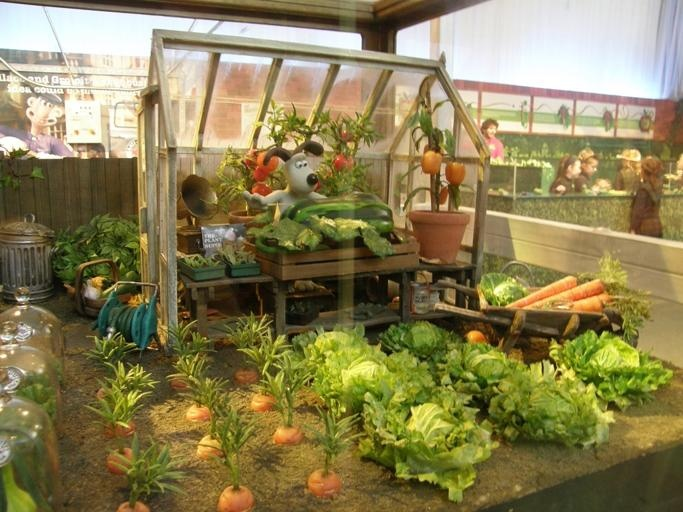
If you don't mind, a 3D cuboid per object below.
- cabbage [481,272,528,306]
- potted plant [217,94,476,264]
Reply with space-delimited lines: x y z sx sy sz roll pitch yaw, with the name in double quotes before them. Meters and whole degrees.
"cabbage" 1.136 0.210 3.440 0.261 0.110 0.248 5 19 13
"potted plant" -0.179 -0.823 4.134 2.131 1.349 0.820 -5 20 -29
